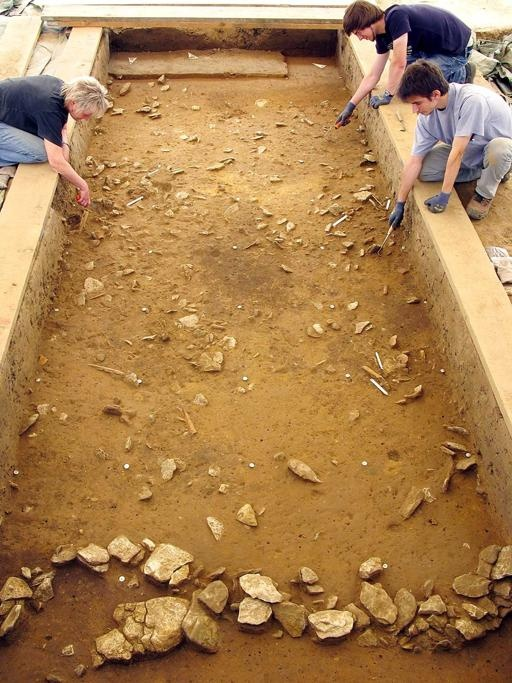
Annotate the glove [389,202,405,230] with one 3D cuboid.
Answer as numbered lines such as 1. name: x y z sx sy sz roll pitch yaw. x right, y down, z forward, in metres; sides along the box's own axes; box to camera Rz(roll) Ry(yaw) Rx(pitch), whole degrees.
1. glove: 0.875 -0.793 3.723 0.045 0.139 0.106 14 41 -6

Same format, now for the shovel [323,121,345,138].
1. shovel: 0.622 -1.720 4.757 0.111 0.073 0.249 26 53 8

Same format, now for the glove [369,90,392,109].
1. glove: 0.930 -1.799 4.342 0.126 0.046 0.155 6 58 32

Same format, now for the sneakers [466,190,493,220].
1. sneakers: 1.320 -0.798 3.573 0.102 0.203 0.088 29 7 11

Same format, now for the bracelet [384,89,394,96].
1. bracelet: 0.958 -1.794 4.274 0.062 0.060 0.024 29 66 34
